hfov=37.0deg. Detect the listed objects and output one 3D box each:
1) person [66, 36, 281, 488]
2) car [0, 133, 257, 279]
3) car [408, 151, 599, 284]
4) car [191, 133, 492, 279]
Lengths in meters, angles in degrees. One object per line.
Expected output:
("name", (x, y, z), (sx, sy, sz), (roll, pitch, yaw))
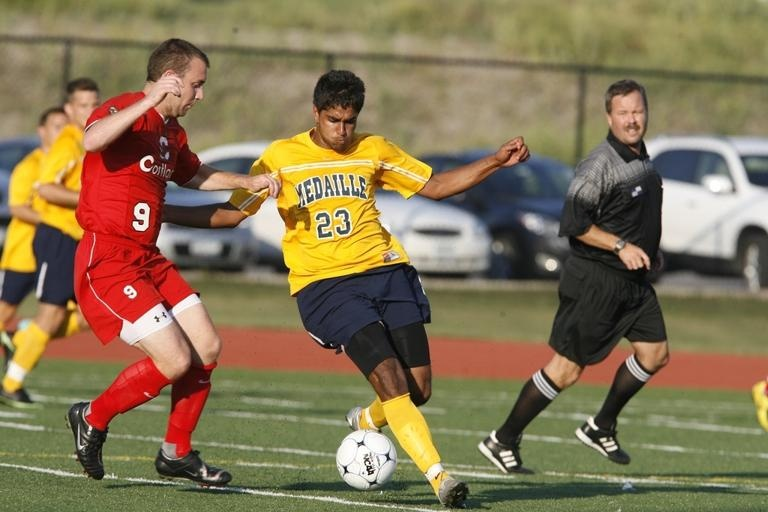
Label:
("person", (-1.917, 0.064, 9.424), (1.292, 3.703, 0.696), (1, 6, -12))
("car", (-4.446, -0.815, 20.222), (4.537, 1.959, 2.391), (-2, 0, 1))
("car", (2.133, -0.675, 20.277), (3.060, 1.380, 1.740), (-1, 4, 6))
("car", (-0.771, -0.721, 19.898), (4.774, 1.476, 2.190), (1, 2, 35))
